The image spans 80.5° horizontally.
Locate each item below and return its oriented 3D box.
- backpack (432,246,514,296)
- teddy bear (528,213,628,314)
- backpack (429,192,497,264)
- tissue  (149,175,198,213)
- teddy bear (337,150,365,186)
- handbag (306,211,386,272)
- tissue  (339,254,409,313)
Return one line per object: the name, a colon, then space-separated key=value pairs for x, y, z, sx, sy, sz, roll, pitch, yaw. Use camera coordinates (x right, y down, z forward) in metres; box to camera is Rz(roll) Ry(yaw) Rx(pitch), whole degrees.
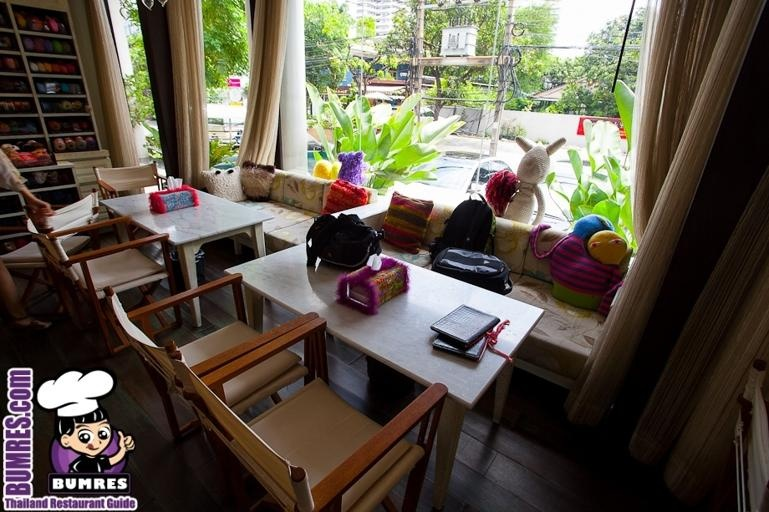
backpack: x=0.629 y=0.089 z=3.322 sx=0.529 sy=0.170 sz=0.302 roll=19 pitch=30 yaw=25
teddy bear: x=1.588 y=0.020 z=3.600 sx=0.634 sy=0.743 sz=0.797 roll=11 pitch=6 yaw=8
backpack: x=0.675 y=-0.220 z=3.655 sx=0.411 sy=0.536 sz=0.196 roll=36 pitch=10 yaw=37
tissue : x=-1.858 y=-0.520 z=3.931 sx=0.241 sy=0.274 sz=0.355 roll=11 pitch=23 yaw=34
teddy bear: x=-0.326 y=-0.847 z=4.467 sx=0.322 sy=0.379 sz=0.242 roll=11 pitch=30 yaw=14
handbag: x=-0.268 y=-0.087 z=3.066 sx=0.469 sy=0.208 sz=0.334 roll=5 pitch=50 yaw=0
tissue : x=-0.066 y=0.159 z=2.846 sx=0.288 sy=0.178 sz=0.424 roll=14 pitch=26 yaw=32
